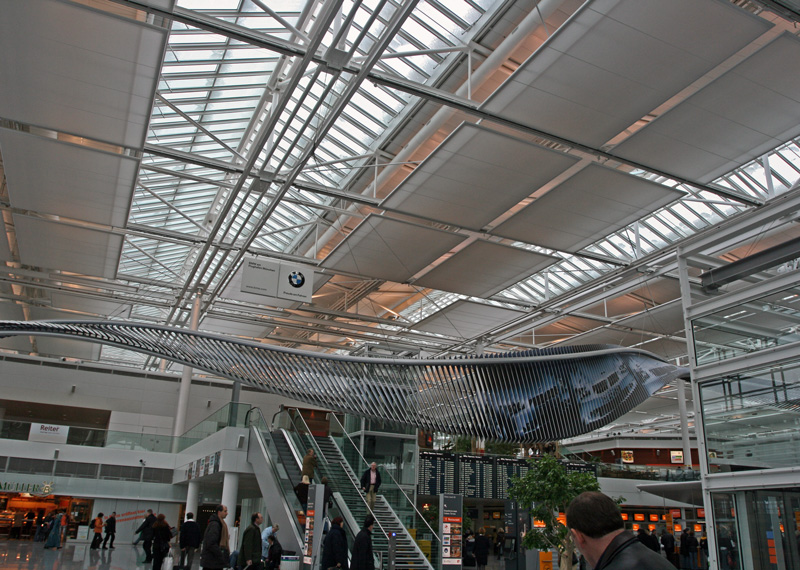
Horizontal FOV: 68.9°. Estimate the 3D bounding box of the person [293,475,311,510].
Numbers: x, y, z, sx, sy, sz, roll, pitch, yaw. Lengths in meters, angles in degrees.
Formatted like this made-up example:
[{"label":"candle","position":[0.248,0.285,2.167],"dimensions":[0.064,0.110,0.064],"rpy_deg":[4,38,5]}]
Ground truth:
[{"label":"person","position":[-2.547,5.296,15.057],"dimensions":[0.380,0.868,0.914],"rpy_deg":[3,-26,-9]}]
